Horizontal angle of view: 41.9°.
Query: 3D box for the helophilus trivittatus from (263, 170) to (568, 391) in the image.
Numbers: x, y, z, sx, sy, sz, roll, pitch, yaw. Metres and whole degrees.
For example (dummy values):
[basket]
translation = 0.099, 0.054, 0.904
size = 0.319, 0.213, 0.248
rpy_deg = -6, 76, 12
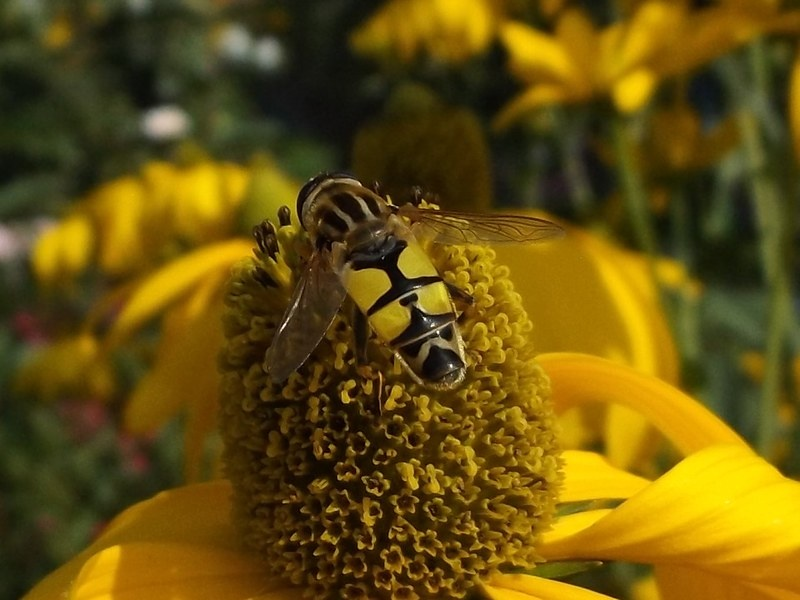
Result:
[helophilus trivittatus]
translation = -0.005, -0.008, 0.845
size = 0.223, 0.071, 0.178
rpy_deg = -24, 62, -16
